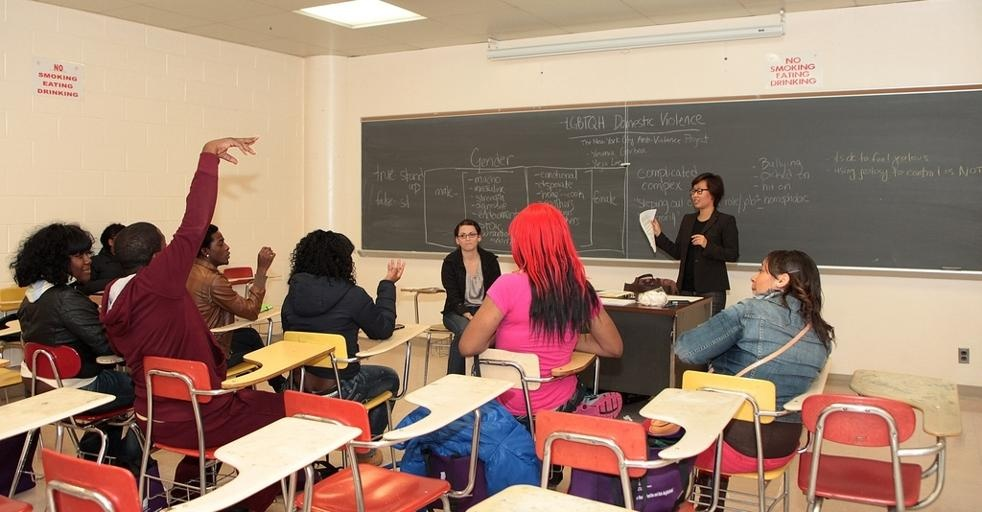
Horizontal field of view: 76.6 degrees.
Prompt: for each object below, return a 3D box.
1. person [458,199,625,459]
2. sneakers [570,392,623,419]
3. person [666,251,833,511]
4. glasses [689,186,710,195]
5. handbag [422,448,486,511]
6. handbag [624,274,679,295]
[{"bbox_3d":[0.284,0.215,3.924,1.012,1.082,0.216,-4,9,-4],"label":"person"},{"bbox_3d":[0.725,0.972,4.020,0.447,0.141,0.196,-10,-14,24],"label":"sneakers"},{"bbox_3d":[1.684,0.759,3.905,1.031,1.544,0.530,-7,9,-21],"label":"person"},{"bbox_3d":[1.958,-0.622,5.838,0.138,0.035,0.139,-2,-5,43],"label":"glasses"},{"bbox_3d":[-0.210,1.378,3.721,0.352,0.406,0.184,-5,8,-6],"label":"handbag"},{"bbox_3d":[1.520,0.277,5.907,0.389,0.210,0.219,1,-5,13],"label":"handbag"}]
